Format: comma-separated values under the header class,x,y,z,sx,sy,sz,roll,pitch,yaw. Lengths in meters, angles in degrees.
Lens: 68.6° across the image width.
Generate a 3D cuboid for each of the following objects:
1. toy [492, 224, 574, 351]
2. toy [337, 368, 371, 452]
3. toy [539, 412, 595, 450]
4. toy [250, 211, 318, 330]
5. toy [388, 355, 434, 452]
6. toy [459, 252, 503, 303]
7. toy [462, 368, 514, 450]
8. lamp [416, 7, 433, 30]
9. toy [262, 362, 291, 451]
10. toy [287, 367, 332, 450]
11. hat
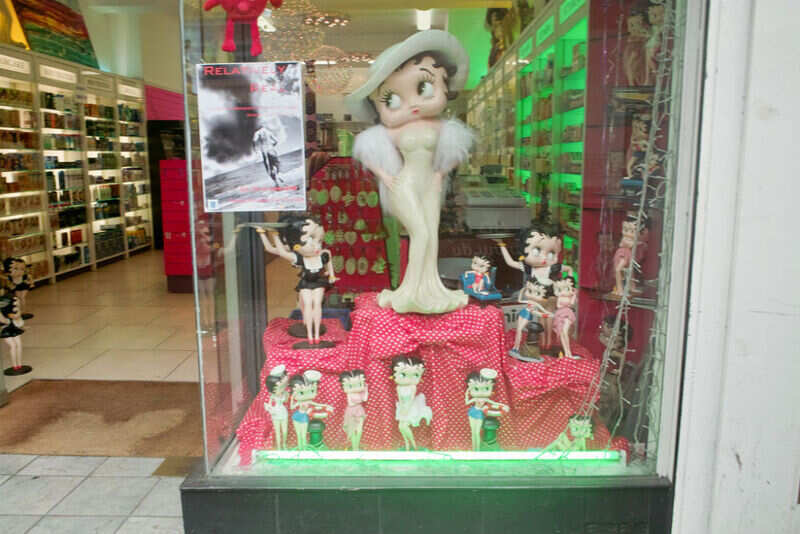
class,x,y,z,sx,sy,sz,roll,pitch,yaw
toy,0.657,0.120,2.840,0.378,0.621,0.089,1,9,8
toy,-0.211,0.664,2.746,0.127,0.376,0.077,-1,9,-4
toy,0.794,0.776,2.739,0.206,0.149,0.091,1,9,11
toy,-0.511,0.058,2.819,0.331,0.598,0.124,-1,9,-4
toy,0.062,0.629,2.749,0.186,0.447,0.090,0,9,1
toy,0.402,0.048,2.854,0.229,0.174,0.187,12,16,39
toy,0.407,0.662,2.749,0.211,0.382,0.099,0,9,6
lamp,0.114,-1.154,2.725,0.082,0.102,0.046,0,9,-1
toy,-0.573,0.652,2.735,0.115,0.386,0.087,-2,9,-10
toy,-0.415,0.667,2.751,0.200,0.364,0.082,-2,9,-11
hat,0.101,-0.858,2.651,0.562,0.169,0.447,-15,-24,-29
